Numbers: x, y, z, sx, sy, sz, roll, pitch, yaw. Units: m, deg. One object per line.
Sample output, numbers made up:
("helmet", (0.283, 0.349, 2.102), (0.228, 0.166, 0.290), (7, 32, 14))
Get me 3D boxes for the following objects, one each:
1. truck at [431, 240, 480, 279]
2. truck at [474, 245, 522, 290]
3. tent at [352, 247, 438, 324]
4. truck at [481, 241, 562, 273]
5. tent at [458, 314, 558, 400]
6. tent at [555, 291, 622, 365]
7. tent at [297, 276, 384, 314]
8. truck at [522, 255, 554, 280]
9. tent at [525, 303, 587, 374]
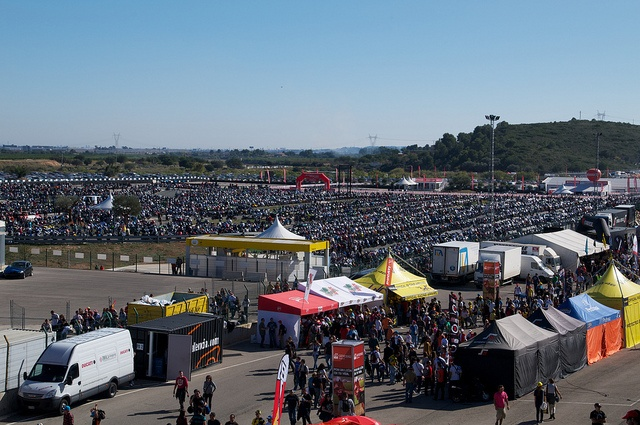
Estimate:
("truck", (11.281, 3.614, 86.334), (2.207, 2.185, 4.103), (2, 6, 33))
("truck", (14.319, 3.910, 85.610), (2.155, 2.536, 4.887), (1, 2, 37))
("tent", (4.933, 5.473, 77.333), (5.074, 3.481, 3.106), (-7, 6, -39))
("truck", (15.827, 3.637, 87.144), (7.509, 3.328, 2.516), (0, 8, 13))
("tent", (12.346, 8.711, 68.955), (7.257, 5.030, 5.640), (-2, -3, 14))
("tent", (17.424, 7.691, 72.253), (4.436, 3.535, 4.552), (1, 5, 42))
("tent", (1.395, 5.497, 74.509), (2.662, 1.198, 3.871), (-5, -4, 43))
("truck", (17.822, 4.289, 86.248), (2.644, 1.311, 1.431), (-1, 3, 24))
("tent", (15.496, 8.041, 70.164), (4.189, 3.855, 4.153), (-7, 9, -30))
